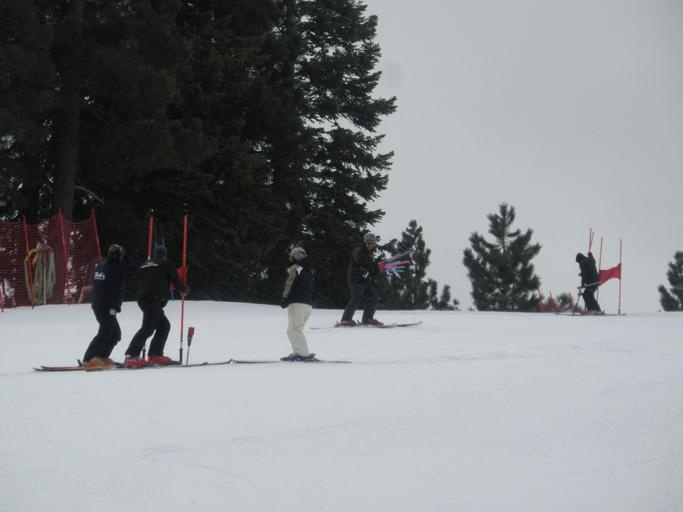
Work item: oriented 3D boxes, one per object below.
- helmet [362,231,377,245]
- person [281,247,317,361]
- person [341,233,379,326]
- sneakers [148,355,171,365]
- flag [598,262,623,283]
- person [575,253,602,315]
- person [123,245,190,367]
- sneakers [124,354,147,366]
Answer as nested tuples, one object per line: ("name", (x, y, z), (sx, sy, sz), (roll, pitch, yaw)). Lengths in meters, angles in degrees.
("helmet", (0.604, -0.341, 16.440), (0.247, 0.294, 0.652), (-1, 6, 0))
("person", (-0.670, 0.770, 12.543), (0.496, 1.795, 1.450), (-1, 6, -3))
("person", (0.431, 0.485, 16.579), (0.789, 1.964, 1.356), (0, 6, 3))
("sneakers", (-2.655, 1.524, 11.802), (0.365, 0.182, 0.132), (1, 12, -9))
("flag", (6.175, 0.424, 18.349), (0.615, 0.110, 0.713), (-6, 38, 28))
("person", (6.674, 0.665, 21.514), (0.615, 1.587, 1.890), (1, 7, 17))
("person", (-2.782, 0.732, 11.956), (0.942, 1.788, 0.911), (-3, 7, -17))
("sneakers", (-2.968, 1.518, 11.618), (0.350, 0.185, 0.137), (2, -8, -3))
